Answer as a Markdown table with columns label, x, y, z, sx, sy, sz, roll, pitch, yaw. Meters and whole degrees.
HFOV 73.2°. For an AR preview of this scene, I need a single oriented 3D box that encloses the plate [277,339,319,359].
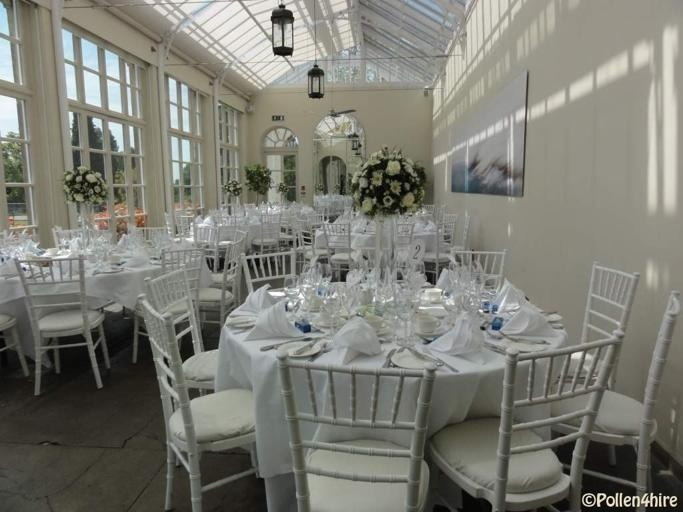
| label | x | y | z | sx | sy | sz | roll | pitch | yaw |
| --- | --- | --- | --- | --- | --- | --- | --- | --- | --- |
| plate | -0.243 | 0.527 | 2.652 | 0.216 | 0.047 | 0.226 | -3 | 6 | -4 |

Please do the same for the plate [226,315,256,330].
| label | x | y | z | sx | sy | sz | roll | pitch | yaw |
| --- | --- | --- | --- | --- | --- | --- | --- | --- | --- |
| plate | -0.665 | 0.432 | 3.010 | 0.194 | 0.044 | 0.187 | -2 | 6 | 5 |

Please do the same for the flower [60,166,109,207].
| label | x | y | z | sx | sy | sz | roll | pitch | yaw |
| --- | --- | --- | --- | --- | --- | --- | --- | --- | --- |
| flower | -3.283 | -0.859 | 5.829 | 0.509 | 0.537 | 0.505 | 0 | 4 | -16 |

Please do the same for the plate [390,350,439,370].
| label | x | y | z | sx | sy | sz | roll | pitch | yaw |
| --- | --- | --- | --- | --- | --- | --- | --- | --- | --- |
| plate | 0.396 | 0.563 | 2.498 | 0.266 | 0.041 | 0.217 | 1 | 7 | 31 |

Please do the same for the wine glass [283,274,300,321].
| label | x | y | z | sx | sy | sz | roll | pitch | yaw |
| --- | --- | --- | --- | --- | --- | --- | --- | --- | --- |
| wine glass | -0.348 | 0.264 | 3.177 | 0.103 | 0.249 | 0.430 | -3 | 7 | -7 |

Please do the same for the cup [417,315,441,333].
| label | x | y | z | sx | sy | sz | roll | pitch | yaw |
| --- | --- | --- | --- | --- | --- | --- | --- | --- | --- |
| cup | 0.550 | 0.418 | 2.911 | 0.137 | 0.084 | 0.198 | -1 | 7 | 12 |
